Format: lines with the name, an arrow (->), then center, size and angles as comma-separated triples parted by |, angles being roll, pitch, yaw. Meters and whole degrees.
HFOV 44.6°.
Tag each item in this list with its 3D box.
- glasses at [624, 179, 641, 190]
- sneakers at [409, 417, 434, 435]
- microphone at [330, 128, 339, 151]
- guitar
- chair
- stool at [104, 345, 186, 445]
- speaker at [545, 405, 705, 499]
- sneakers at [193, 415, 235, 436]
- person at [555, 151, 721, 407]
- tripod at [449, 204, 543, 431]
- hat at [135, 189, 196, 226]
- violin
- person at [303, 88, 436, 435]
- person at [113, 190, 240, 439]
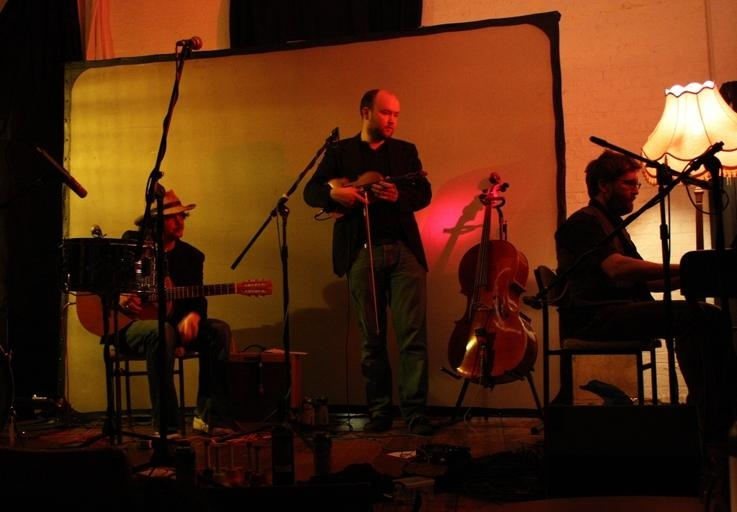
glasses -> 1.878, -0.522, 6.433 | 0.163, 0.046, 0.159 | 1, -3, -9
sneakers -> 0.381, 1.251, 6.632 | 0.193, 0.138, 0.172 | 0, -8, 2
microphone -> -0.258, -0.859, 6.633 | 0.063, 0.073, 0.188 | 9, -53, -7
guitar -> -1.510, 0.339, 6.903 | 1.518, 0.564, 0.216 | -7, -4, -14
chair -> 1.594, 0.610, 6.474 | 0.886, 1.187, 0.916 | -2, 10, 14
stool -> -1.666, 0.934, 6.815 | 0.624, 0.555, 0.657 | -2, -11, -26
speaker -> 1.377, 1.043, 4.819 | 0.876, 0.581, 0.473 | -1, -3, 4
sneakers -> -1.228, 1.301, 6.857 | 0.382, 0.158, 0.128 | -2, -7, 15
person -> 1.756, 0.061, 5.971 | 0.772, 1.796, 1.261 | 3, -8, -12
tripod -> 0.920, 0.361, 6.769 | 0.685, 1.553, 0.730 | 0, -8, 10
hat -> -1.619, -0.399, 7.317 | 0.460, 0.189, 0.491 | -3, -6, -26
violin -> 0.004, -0.543, 6.835 | 0.851, 0.324, 0.139 | -11, 7, 13
person -> 0.031, 0.004, 6.810 | 0.877, 2.611, 0.531 | 1, -8, -1
person -> -1.398, 0.437, 6.988 | 0.875, 1.872, 0.287 | -1, -8, -6
